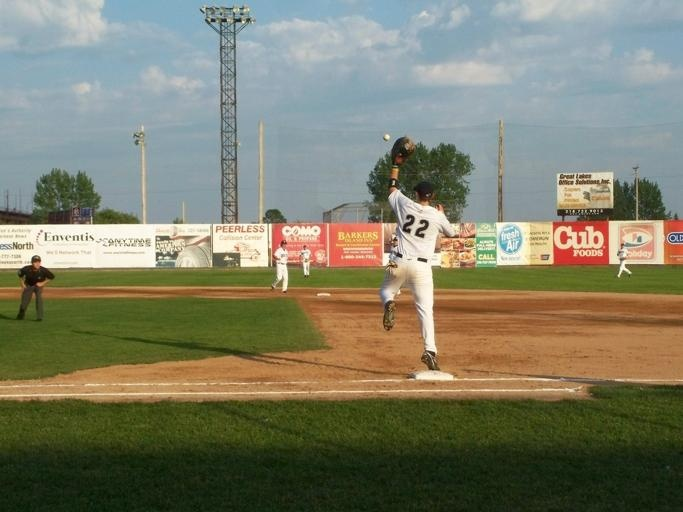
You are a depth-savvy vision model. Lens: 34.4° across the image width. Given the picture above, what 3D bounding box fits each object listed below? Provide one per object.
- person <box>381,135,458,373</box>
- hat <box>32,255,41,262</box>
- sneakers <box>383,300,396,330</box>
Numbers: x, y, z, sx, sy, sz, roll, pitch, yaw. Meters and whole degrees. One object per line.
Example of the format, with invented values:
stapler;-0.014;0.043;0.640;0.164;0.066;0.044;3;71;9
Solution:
person;1.255;-0.033;19.341;1.191;4.080;0.557;-1;2;2
hat;-7.532;0.073;27.415;0.162;0.122;0.238;2;-5;-36
sneakers;0.822;1.053;19.354;0.195;0.518;0.239;4;-8;-18
